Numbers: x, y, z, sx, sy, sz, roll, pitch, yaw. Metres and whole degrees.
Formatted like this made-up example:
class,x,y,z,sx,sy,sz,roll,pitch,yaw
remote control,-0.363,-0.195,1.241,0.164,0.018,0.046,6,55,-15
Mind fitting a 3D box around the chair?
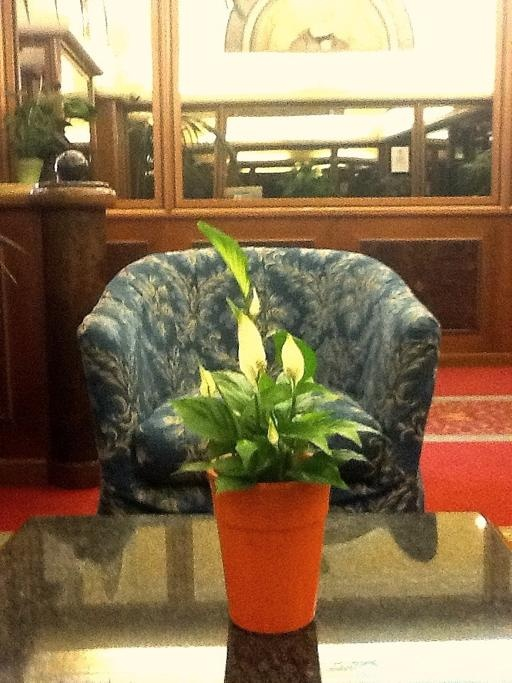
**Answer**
class,x,y,z,sx,sy,sz,roll,pitch,yaw
chair,0.003,0.037,1.822,1.015,0.673,0.711,1,-1,-2
